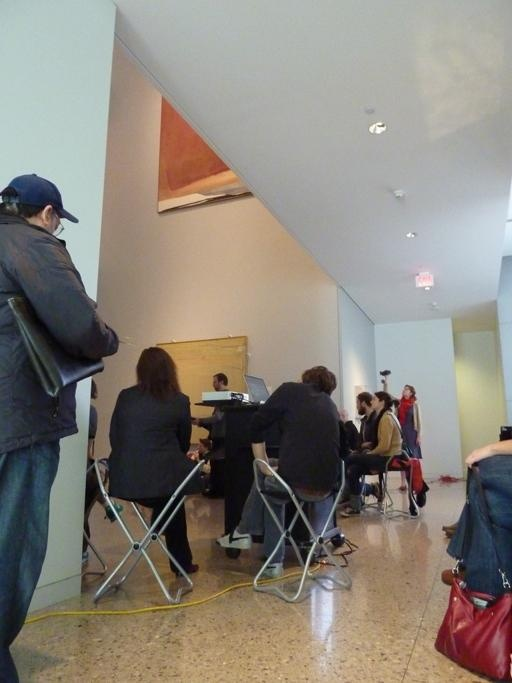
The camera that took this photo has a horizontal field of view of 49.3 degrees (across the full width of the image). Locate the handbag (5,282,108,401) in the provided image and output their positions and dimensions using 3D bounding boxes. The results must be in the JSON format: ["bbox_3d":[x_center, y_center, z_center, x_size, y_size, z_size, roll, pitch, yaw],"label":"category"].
[{"bbox_3d":[-0.571,0.015,1.600,0.274,0.278,0.156,4,-9,-24],"label":"handbag"}]

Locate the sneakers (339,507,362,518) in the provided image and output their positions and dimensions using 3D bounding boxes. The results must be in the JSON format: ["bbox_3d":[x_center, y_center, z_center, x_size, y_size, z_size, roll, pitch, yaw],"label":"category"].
[{"bbox_3d":[0.922,1.668,5.449,0.217,0.098,0.083,5,-17,-1],"label":"sneakers"}]

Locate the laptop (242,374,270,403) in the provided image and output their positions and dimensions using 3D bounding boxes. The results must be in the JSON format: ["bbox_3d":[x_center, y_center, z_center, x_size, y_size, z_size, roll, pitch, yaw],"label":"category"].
[{"bbox_3d":[0.022,0.421,4.897,0.193,0.172,0.276,8,-8,20],"label":"laptop"}]

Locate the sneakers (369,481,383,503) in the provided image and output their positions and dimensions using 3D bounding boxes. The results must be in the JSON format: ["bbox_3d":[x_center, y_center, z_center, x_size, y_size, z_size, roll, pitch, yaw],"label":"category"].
[{"bbox_3d":[1.336,1.623,6.096,0.158,0.223,0.486,-1,-6,15],"label":"sneakers"}]

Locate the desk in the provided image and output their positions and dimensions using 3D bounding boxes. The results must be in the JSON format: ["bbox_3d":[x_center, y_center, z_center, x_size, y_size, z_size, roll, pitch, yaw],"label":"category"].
[{"bbox_3d":[0.152,0.753,3.256,0.696,1.038,0.887,0,-8,4],"label":"desk"}]

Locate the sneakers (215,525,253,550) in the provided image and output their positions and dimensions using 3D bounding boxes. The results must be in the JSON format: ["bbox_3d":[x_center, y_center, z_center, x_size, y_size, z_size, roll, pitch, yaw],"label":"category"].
[{"bbox_3d":[-0.125,1.138,3.236,0.099,0.125,0.292,14,-18,-34],"label":"sneakers"}]

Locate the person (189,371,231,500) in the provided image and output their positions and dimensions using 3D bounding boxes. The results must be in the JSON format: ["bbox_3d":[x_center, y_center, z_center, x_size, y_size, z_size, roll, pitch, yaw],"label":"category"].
[{"bbox_3d":[-0.470,1.095,6.333,0.446,1.478,0.456,1,-9,-6],"label":"person"}]

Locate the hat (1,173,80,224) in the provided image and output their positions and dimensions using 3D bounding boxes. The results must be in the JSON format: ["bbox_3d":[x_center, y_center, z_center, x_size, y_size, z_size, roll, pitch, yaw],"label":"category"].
[{"bbox_3d":[-0.695,-0.465,1.828,0.130,0.118,0.209,16,3,40],"label":"hat"}]
